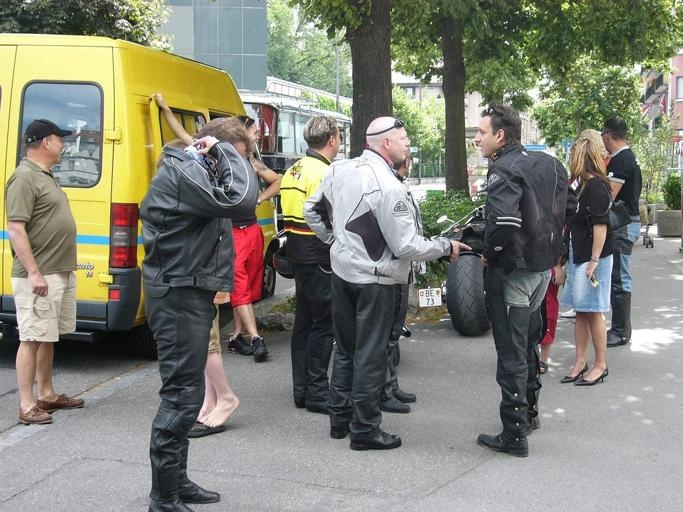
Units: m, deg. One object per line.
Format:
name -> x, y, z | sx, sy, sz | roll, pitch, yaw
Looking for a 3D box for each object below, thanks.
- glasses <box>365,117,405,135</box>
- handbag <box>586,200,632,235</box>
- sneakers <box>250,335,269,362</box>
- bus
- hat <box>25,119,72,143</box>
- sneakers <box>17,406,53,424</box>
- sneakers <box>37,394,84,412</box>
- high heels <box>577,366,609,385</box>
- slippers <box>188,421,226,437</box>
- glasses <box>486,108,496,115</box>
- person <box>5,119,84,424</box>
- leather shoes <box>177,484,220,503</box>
glasses -> 0.320, -0.996, 5.211 | 0.207, 0.098, 0.158 | -15, 8, 7
handbag -> 2.566, -0.377, 6.620 | 0.314, 0.318, 0.149 | -23, -2, 3
sneakers -> -0.877, 0.991, 7.230 | 0.122, 0.160, 0.346 | -9, -5, 1
bus -> -1.793, -3.691, 19.938 | 1.919, 2.359, 4.754 | 7, 13, 31
hat -> -2.458, -1.043, 5.733 | 0.324, 0.173, 0.209 | -8, 16, -30
sneakers -> -2.513, 1.296, 5.608 | 0.239, 0.116, 0.135 | 0, 1, 15
sneakers -> -2.423, 1.226, 5.875 | 0.348, 0.164, 0.136 | -4, 6, -26
high heels -> 2.334, 1.139, 6.496 | 0.372, 0.170, 0.129 | 0, -1, -9
slippers -> -1.086, 1.371, 5.419 | 0.352, 0.098, 0.160 | 6, -3, -40
glasses -> 1.114, -1.085, 5.100 | 0.046, 0.023, 0.064 | 5, -18, -1
person -> -2.481, 0.118, 5.680 | 0.525, 2.488, 0.415 | -1, 4, -25
leather shoes -> -0.919, 1.510, 4.425 | 0.301, 0.127, 0.100 | 1, 8, -14
